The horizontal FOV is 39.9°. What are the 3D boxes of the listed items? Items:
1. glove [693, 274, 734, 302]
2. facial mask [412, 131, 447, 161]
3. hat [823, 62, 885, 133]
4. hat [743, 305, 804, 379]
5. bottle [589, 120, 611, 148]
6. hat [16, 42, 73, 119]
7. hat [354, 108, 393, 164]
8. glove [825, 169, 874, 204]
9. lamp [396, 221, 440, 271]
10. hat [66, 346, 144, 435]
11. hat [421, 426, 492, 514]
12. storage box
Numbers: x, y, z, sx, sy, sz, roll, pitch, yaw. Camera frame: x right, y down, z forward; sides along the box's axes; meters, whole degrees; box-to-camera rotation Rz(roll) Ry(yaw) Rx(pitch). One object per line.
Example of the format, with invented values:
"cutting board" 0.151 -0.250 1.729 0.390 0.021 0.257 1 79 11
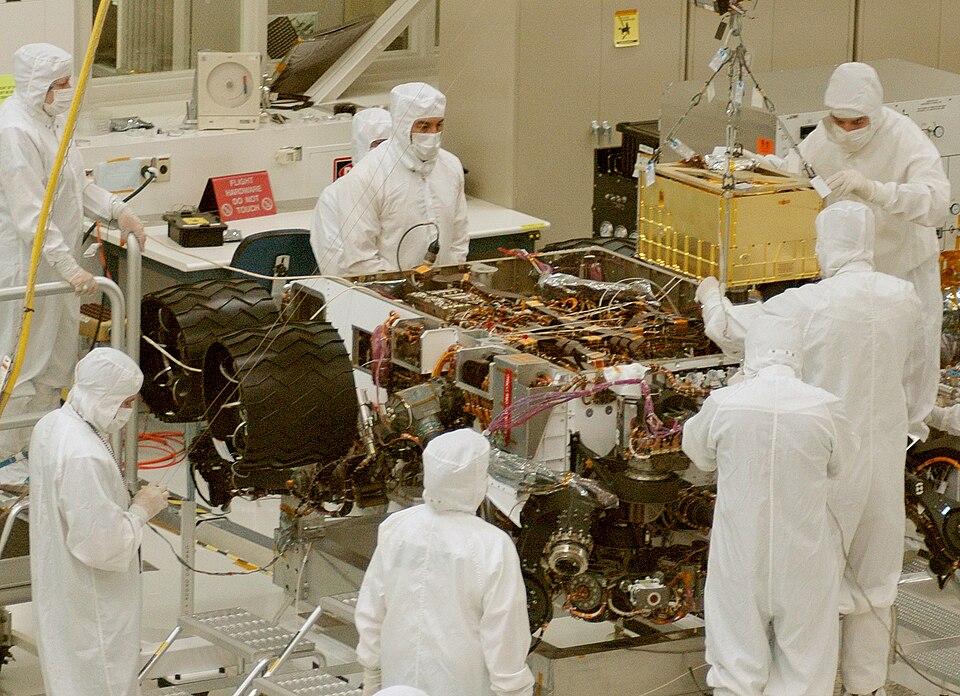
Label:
"glove" 0.902 -0.238 5.209 0.099 0.110 0.120 1 1 4
"facial mask" -0.254 -0.990 6.476 0.113 0.106 0.131 -8 28 -20
"hat" 1.685 -1.127 5.929 0.238 0.300 0.241 2 11 16
"hat" 1.068 -0.021 4.771 0.192 0.249 0.137 10 -33 -8
"bottle" 0.745 -1.352 8.291 0.138 0.176 0.095 -10 17 -30
"hat" -2.103 -1.270 6.286 0.316 0.315 0.275 -5 32 -26
"hat" -0.592 -1.148 6.980 0.207 0.278 0.274 -3 2 -15
"glove" 1.657 -0.723 5.899 0.195 0.152 0.372 1 10 14
"lamp" -0.318 -0.515 6.574 0.173 0.051 0.237 -16 -16 -6
"hat" -1.363 0.155 4.747 0.272 0.307 0.151 -4 11 -15
"hat" -0.074 0.388 4.119 0.213 0.237 0.253 7 12 22
"storage box" 1.100 -0.606 5.683 0.568 0.456 0.748 -9 19 -28
